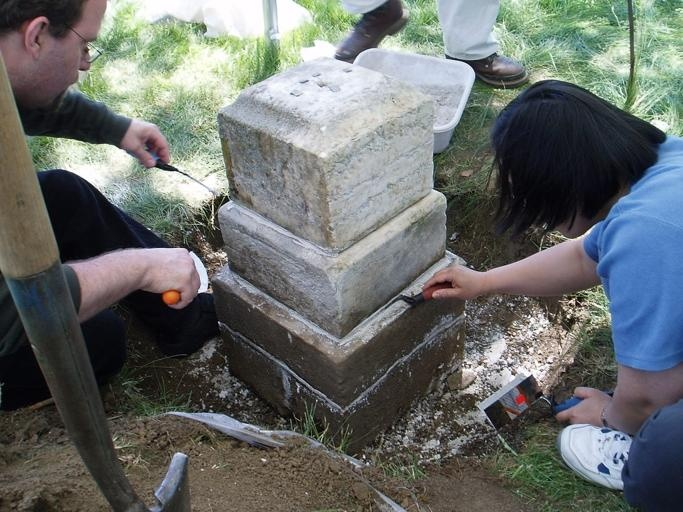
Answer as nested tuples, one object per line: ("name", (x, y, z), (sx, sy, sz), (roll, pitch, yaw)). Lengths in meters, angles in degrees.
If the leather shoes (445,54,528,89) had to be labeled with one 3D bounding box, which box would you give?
("leather shoes", (0.900, -1.146, 3.624), (0.479, 0.214, 0.212), (14, 66, 11))
